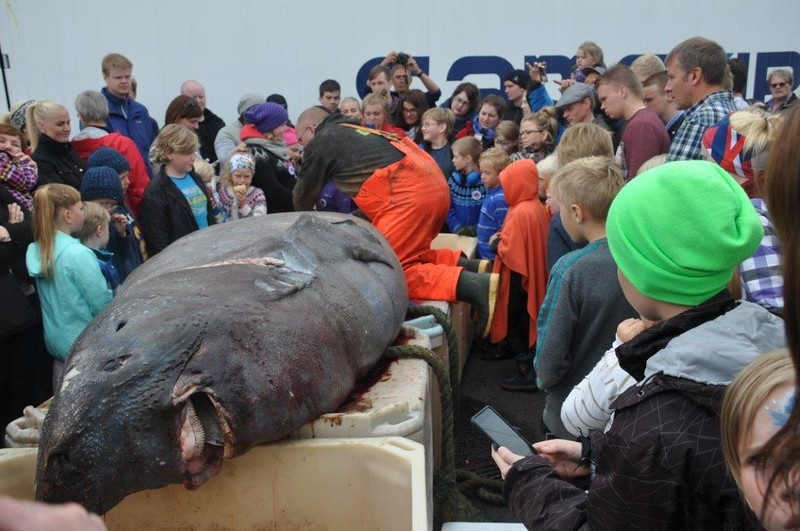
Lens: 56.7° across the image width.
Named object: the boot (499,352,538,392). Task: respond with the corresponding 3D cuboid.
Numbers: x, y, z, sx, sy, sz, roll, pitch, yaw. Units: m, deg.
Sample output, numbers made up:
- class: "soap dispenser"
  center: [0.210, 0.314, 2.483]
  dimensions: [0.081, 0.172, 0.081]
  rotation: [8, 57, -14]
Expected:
- class: "boot"
  center: [0.857, 0.821, 5.610]
  dimensions: [0.371, 0.294, 0.168]
  rotation: [-1, 0, 12]
